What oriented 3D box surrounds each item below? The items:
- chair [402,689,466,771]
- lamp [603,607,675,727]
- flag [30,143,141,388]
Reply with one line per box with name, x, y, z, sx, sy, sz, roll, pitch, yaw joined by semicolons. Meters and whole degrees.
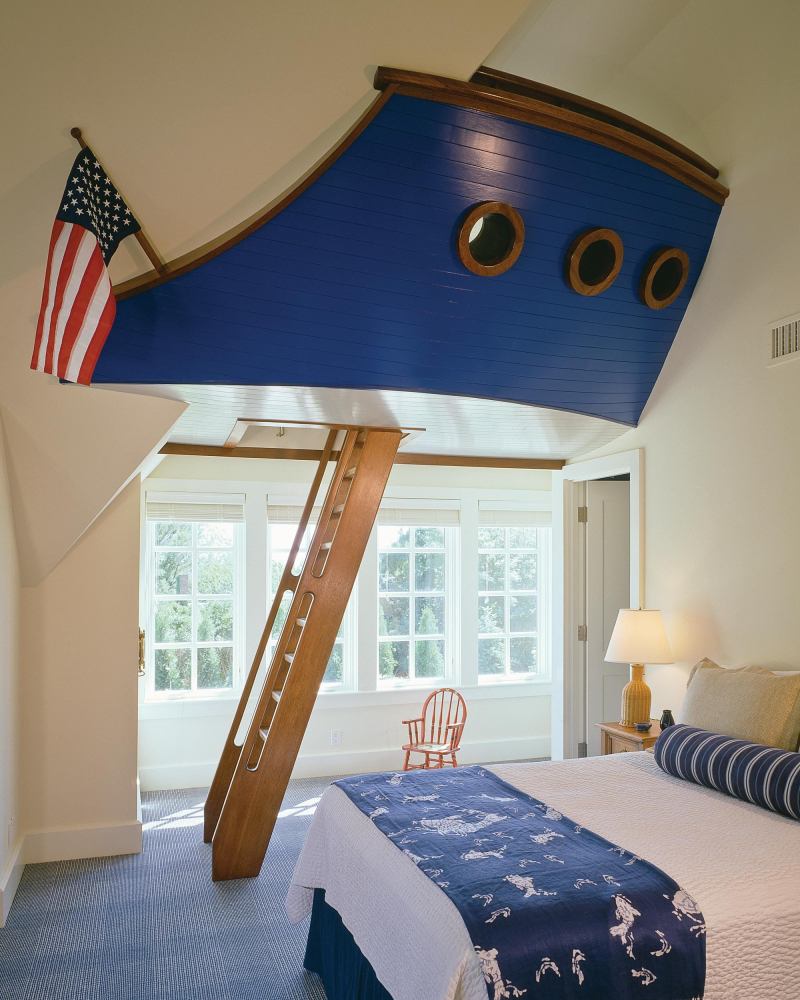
chair;0.260;1.822;5.580;0.410;0.724;0.443;-3;-9;34
lamp;1.238;0.853;3.770;0.309;0.606;0.479;-6;-5;28
flag;-0.968;-0.696;2.281;0.306;0.712;0.241;-2;-5;-27
